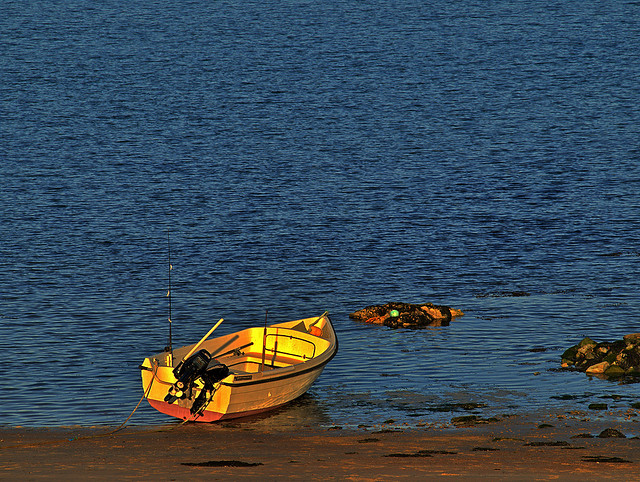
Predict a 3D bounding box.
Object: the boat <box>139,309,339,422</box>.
[{"bbox_3d":[-4.332,7.993,111.556,7.400,4.003,14.136,15,20,36],"label":"boat"}]
